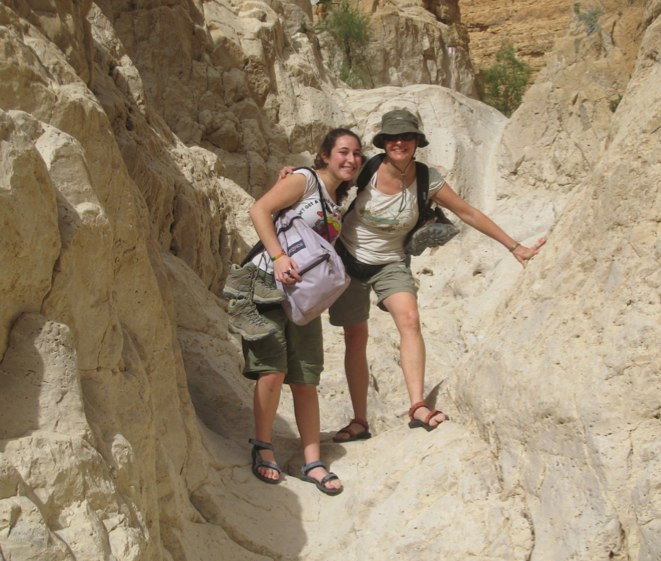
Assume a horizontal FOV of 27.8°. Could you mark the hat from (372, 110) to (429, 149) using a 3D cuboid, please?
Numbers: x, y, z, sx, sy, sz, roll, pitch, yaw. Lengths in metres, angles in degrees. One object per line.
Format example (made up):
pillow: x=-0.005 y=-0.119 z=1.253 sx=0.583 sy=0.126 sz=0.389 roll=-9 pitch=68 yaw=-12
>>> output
hat: x=0.414 y=-0.929 z=8.190 sx=0.314 sy=0.268 sz=0.327 roll=1 pitch=21 yaw=16

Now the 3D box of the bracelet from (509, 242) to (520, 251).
bracelet: x=1.138 y=-0.215 z=8.257 sx=0.057 sy=0.014 sz=0.042 roll=-40 pitch=25 yaw=-4

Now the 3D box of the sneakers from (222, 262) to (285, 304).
sneakers: x=-0.436 y=0.010 z=7.759 sx=0.386 sy=0.219 sz=0.143 roll=11 pitch=8 yaw=28

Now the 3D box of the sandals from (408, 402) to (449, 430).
sandals: x=0.575 y=0.806 z=8.019 sx=0.239 sy=0.107 sz=0.127 roll=0 pitch=38 yaw=47

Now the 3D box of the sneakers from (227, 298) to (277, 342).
sneakers: x=-0.476 y=0.211 z=7.734 sx=0.137 sy=0.213 sz=0.367 roll=-15 pitch=24 yaw=-36

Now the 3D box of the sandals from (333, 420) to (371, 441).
sandals: x=0.143 y=0.953 z=8.444 sx=0.255 sy=0.119 sz=0.108 roll=2 pitch=-4 yaw=-20

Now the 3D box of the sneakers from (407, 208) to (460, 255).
sneakers: x=0.634 y=-0.270 z=8.305 sx=0.308 sy=0.242 sz=0.133 roll=-37 pitch=-23 yaw=4

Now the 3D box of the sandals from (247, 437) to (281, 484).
sandals: x=-0.389 y=1.048 z=7.765 sx=0.198 sy=0.227 sz=0.213 roll=-1 pitch=20 yaw=10

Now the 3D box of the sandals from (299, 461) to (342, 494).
sandals: x=-0.053 y=1.125 z=7.804 sx=0.113 sy=0.123 sz=0.292 roll=-17 pitch=24 yaw=-37
